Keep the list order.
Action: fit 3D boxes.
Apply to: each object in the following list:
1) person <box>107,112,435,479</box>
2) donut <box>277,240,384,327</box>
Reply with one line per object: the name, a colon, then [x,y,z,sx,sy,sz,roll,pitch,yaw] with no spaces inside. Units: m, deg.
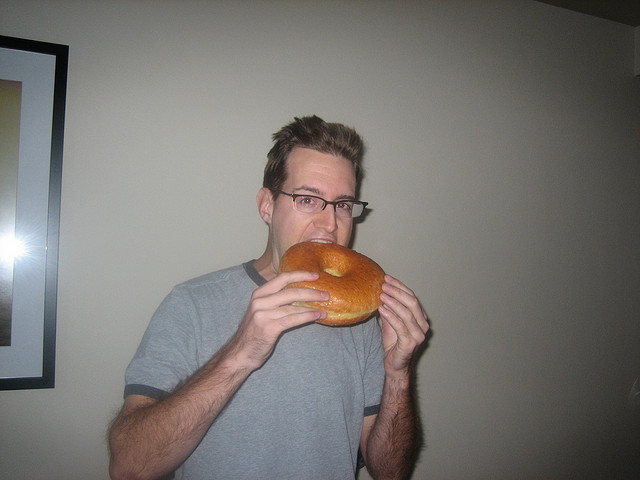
person: [-0.294,0.264,2.552,1.273,2.089,0.979,12,-23,-19]
donut: [0.043,0.166,2.347,0.439,0.163,0.429,-1,37,-24]
